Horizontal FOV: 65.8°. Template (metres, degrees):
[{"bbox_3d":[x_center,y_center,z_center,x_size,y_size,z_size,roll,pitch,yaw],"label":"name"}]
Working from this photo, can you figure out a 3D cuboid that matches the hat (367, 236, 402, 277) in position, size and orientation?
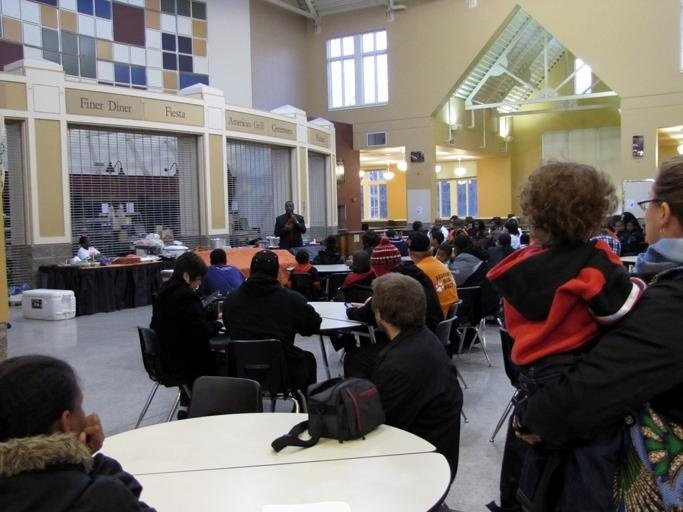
[{"bbox_3d":[0.434,-0.038,5.504,0.316,0.285,0.226,0,17,33],"label":"hat"}]

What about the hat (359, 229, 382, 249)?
[{"bbox_3d":[0.443,-0.259,8.206,0.259,0.345,0.349,2,12,2],"label":"hat"}]

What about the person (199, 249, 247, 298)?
[{"bbox_3d":[-1.257,0.182,5.548,0.453,0.807,0.485,1,8,-9],"label":"person"}]

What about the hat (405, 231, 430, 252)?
[{"bbox_3d":[0.682,-0.128,4.650,0.177,0.172,0.294,-2,6,9],"label":"hat"}]

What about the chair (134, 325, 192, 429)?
[{"bbox_3d":[-1.240,0.921,3.918,0.428,0.656,0.413,4,1,-27],"label":"chair"}]

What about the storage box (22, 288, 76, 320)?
[{"bbox_3d":[-4.450,0.721,8.002,0.752,0.461,0.346,-1,6,16],"label":"storage box"}]

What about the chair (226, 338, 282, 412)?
[{"bbox_3d":[-0.552,0.752,3.445,0.334,0.458,0.354,0,2,2],"label":"chair"}]

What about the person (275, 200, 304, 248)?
[{"bbox_3d":[-1.061,-0.635,10.692,0.580,0.907,0.720,-3,6,-7],"label":"person"}]

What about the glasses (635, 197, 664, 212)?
[{"bbox_3d":[0.992,-0.174,1.686,0.056,0.017,0.059,5,-1,0],"label":"glasses"}]

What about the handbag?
[{"bbox_3d":[-0.057,0.621,2.179,0.370,0.188,0.272,-13,12,-26],"label":"handbag"}]

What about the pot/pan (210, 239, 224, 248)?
[{"bbox_3d":[-2.726,-0.279,11.436,0.228,0.239,0.228,8,11,42],"label":"pot/pan"}]
